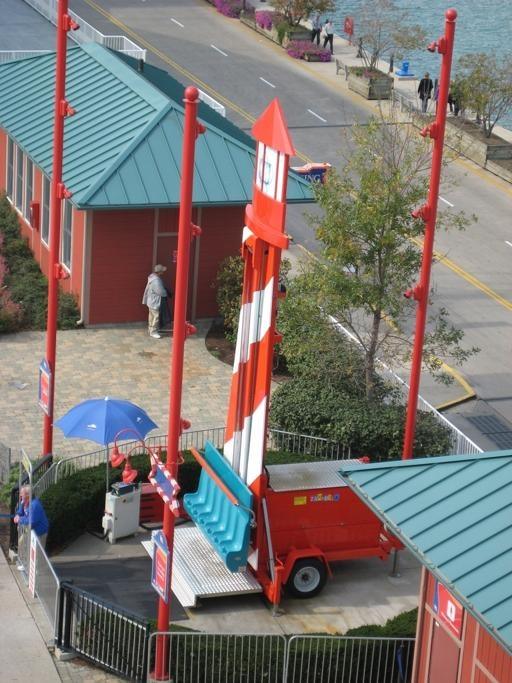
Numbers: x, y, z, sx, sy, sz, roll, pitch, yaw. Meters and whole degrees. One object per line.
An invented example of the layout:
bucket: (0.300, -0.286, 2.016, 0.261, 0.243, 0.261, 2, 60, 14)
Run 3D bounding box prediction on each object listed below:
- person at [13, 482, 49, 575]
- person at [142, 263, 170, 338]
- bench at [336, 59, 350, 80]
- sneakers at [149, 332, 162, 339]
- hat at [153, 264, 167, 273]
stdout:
person: (-2.753, 2.352, 17.016, 0.453, 1.185, 0.429, 18, 25, 24)
person: (-1.878, -0.738, 25.660, 0.432, 1.552, 0.943, 6, 14, -4)
bench: (3.301, -9.990, 50.179, 0.284, 0.655, 1.222, -5, 25, -8)
sneakers: (-1.891, -0.101, 26.133, 0.085, 0.108, 0.230, -6, 10, -38)
hat: (-1.704, -1.333, 25.160, 0.223, 0.118, 0.146, -21, 43, -24)
